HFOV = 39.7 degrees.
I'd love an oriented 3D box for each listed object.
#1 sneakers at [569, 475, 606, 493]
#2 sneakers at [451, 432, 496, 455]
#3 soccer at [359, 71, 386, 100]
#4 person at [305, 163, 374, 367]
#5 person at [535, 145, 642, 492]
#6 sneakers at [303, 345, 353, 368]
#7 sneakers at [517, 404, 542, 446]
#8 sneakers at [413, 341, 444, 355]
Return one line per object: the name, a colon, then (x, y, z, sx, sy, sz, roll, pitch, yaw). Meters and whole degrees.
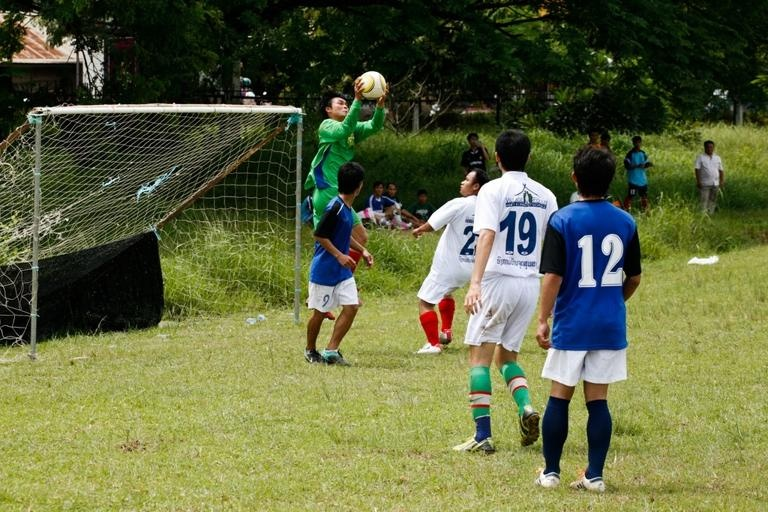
sneakers: (2.080, 2.278, 10.709, 0.299, 0.130, 0.141, 4, 3, 27)
sneakers: (0.982, 2.018, 11.313, 0.479, 0.195, 0.176, -1, -10, 11)
soccer: (-0.096, -2.231, 13.973, 0.402, 0.382, 0.494, 5, 6, 24)
person: (-0.601, 0.090, 13.141, 0.650, 2.499, 0.377, 2, 5, -5)
person: (2.063, 0.628, 10.718, 0.977, 3.405, 0.471, 3, 5, 8)
sneakers: (-0.686, 1.241, 13.223, 0.622, 0.270, 0.210, 5, -1, -1)
sneakers: (1.525, 1.761, 11.027, 0.174, 0.442, 0.217, -5, 45, -5)
sneakers: (0.609, 1.199, 13.736, 0.345, 0.153, 0.138, -1, -6, 1)
